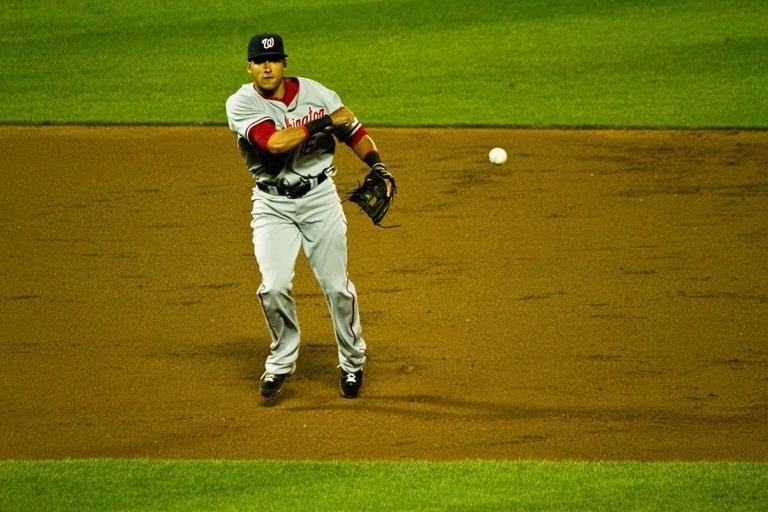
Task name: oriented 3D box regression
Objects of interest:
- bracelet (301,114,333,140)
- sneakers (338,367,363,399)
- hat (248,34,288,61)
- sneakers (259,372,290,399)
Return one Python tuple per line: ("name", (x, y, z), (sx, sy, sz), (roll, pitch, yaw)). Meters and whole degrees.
("bracelet", (-0.900, -1.752, 19.045), (0.371, 0.238, 0.151), (-25, -13, -2))
("sneakers", (-0.463, 1.756, 19.591), (0.225, 0.435, 0.179), (0, 5, 1))
("hat", (-1.570, -2.823, 19.061), (0.514, 0.372, 0.203), (0, 7, -5))
("sneakers", (-1.557, 1.751, 19.532), (0.583, 0.198, 0.240), (-28, 6, -3))
